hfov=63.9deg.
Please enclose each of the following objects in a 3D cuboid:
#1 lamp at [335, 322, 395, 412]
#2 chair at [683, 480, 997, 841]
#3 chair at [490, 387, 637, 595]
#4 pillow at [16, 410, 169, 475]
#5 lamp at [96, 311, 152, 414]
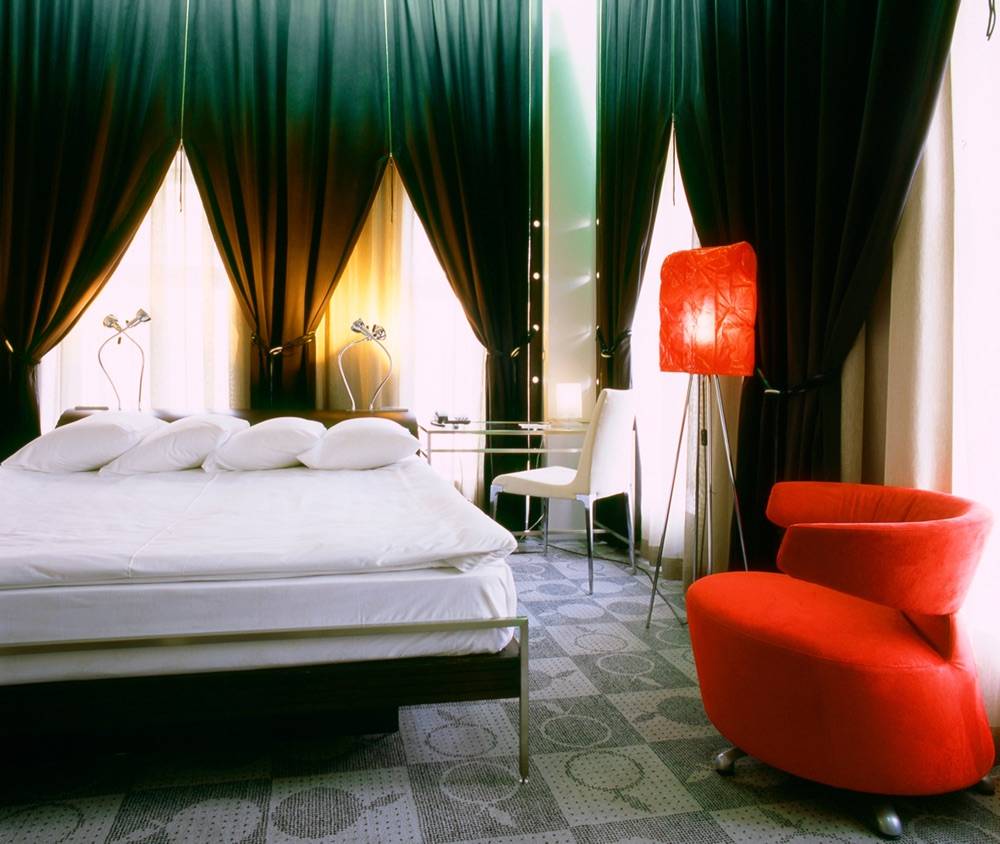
[{"bbox_3d":[-0.767,-0.317,4.563,0.325,0.521,0.266,-1,7,-14],"label":"lamp"},{"bbox_3d":[0.857,0.604,2.237,0.672,0.812,0.800,3,-3,-2],"label":"chair"},{"bbox_3d":[0.229,0.295,3.995,0.510,0.888,0.539,4,4,2],"label":"chair"},{"bbox_3d":[-1.760,0.080,3.497,0.318,0.114,0.351,2,26,26],"label":"pillow"},{"bbox_3d":[-2.014,-0.323,4.314,0.280,0.546,0.410,-3,8,-29],"label":"lamp"}]
